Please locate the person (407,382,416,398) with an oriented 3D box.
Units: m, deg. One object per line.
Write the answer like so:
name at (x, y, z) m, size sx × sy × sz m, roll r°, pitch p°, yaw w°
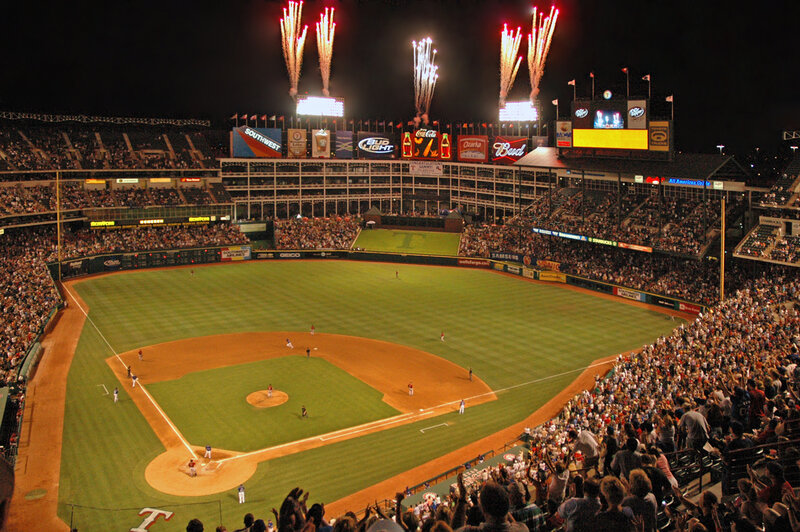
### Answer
person at (0.889, 9.763, 50.114) m, size 0.559 × 1.660 × 0.821 m, roll 1°, pitch 4°, yaw 22°
